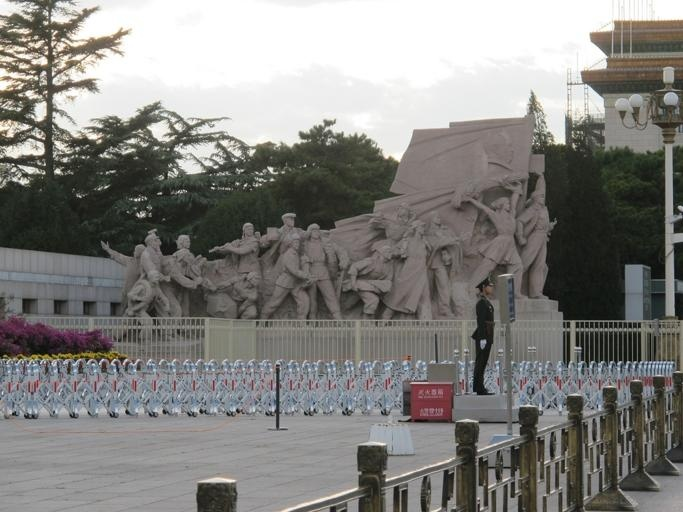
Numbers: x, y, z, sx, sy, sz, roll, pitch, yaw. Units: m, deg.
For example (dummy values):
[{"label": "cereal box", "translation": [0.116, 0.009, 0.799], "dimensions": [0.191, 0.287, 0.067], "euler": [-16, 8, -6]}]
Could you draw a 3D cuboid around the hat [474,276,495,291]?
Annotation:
[{"label": "hat", "translation": [4.436, 0.812, 59.570], "dimensions": [0.440, 0.332, 0.328], "euler": [-22, 2, 14]}]
